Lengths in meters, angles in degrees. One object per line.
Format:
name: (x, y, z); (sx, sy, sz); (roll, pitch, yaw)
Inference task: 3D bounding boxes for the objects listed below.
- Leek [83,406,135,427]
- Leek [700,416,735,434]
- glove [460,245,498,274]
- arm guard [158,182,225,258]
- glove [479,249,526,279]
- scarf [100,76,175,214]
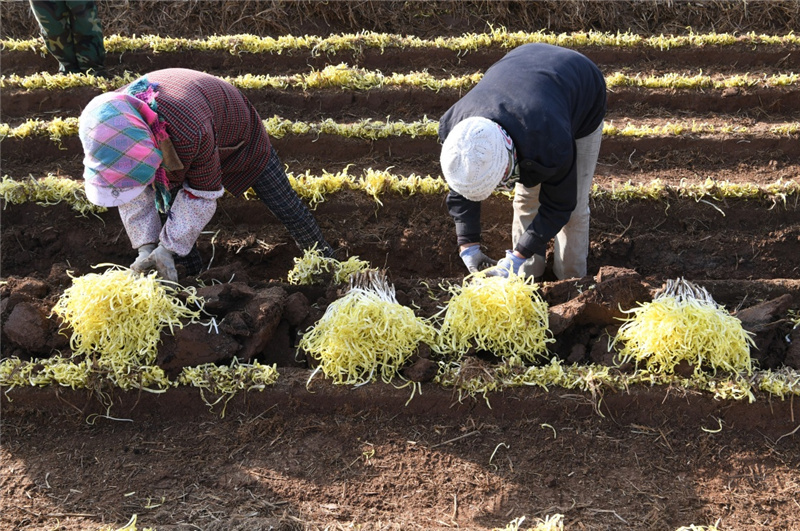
Leek: (-2.520, 1.300, 8.770); (0.351, 0.168, 0.080); (-1, -7, -6)
Leek: (2.671, 1.362, 8.624); (0.205, 0.107, 0.087); (-12, 28, -17)
glove: (0.700, -0.062, 9.270); (0.317, 0.105, 0.288); (5, 30, -36)
arm guard: (-1.851, -0.394, 8.886); (0.554, 0.592, 0.249); (26, -5, 0)
glove: (0.950, -0.005, 9.074); (0.305, 0.098, 0.305); (-10, 3, 41)
scarf: (-2.194, -1.002, 8.476); (0.521, 1.360, 0.454); (-1, 46, 10)
